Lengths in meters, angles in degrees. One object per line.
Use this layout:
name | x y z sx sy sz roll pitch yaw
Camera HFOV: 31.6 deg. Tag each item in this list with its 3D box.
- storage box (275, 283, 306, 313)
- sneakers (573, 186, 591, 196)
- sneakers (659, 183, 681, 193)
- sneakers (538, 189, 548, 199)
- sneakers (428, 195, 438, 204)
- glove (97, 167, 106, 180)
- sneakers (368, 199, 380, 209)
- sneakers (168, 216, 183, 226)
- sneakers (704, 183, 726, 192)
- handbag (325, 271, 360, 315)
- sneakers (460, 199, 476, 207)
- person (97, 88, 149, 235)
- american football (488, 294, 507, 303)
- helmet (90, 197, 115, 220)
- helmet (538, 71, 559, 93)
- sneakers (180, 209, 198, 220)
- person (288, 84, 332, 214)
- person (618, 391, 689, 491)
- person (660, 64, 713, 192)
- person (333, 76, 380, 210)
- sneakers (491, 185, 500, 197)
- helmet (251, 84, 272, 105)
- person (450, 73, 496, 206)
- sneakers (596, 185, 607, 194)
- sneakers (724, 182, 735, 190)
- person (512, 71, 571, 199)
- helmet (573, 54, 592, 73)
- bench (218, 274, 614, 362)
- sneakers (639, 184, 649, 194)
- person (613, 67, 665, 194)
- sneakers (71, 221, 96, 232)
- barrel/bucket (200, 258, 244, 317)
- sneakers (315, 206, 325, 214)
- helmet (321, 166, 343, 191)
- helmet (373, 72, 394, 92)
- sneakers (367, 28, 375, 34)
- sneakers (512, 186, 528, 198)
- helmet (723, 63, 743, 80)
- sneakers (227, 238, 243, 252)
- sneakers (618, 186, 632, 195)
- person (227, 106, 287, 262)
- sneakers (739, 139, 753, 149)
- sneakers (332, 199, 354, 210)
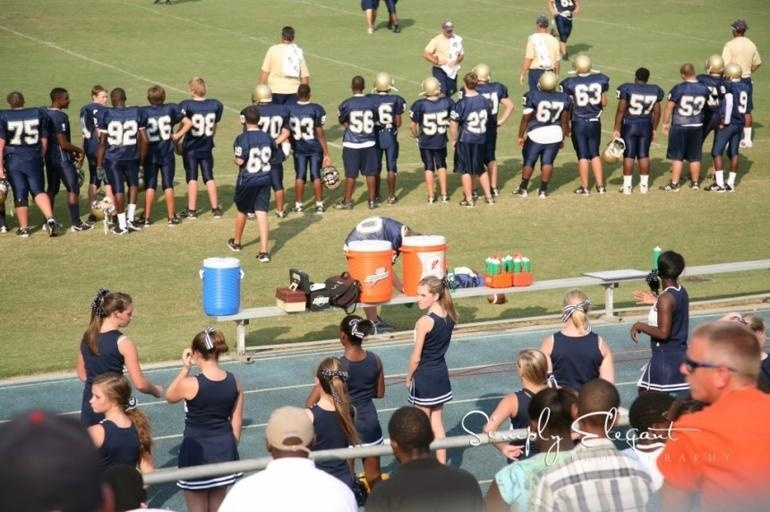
storage box | -1.538 0.672 22.470 0.477 0.248 0.590 -3 12 -20
sneakers | 4.115 -1.402 28.524 0.156 0.127 0.327 -2 8 -20
sneakers | 5.992 -1.465 28.622 0.159 0.151 0.412 -8 11 -40
sneakers | 3.289 -1.312 28.216 0.263 0.173 0.485 -1 0 -3
sneakers | 0.993 -1.189 27.932 0.206 0.170 0.480 -1 -3 5
glove | -5.331 -1.613 25.797 0.255 0.223 0.613 0 6 -9
sneakers | -0.194 -1.084 27.506 0.262 0.240 0.616 -1 0 4
sneakers | -4.077 -0.702 26.637 0.245 0.204 0.569 -1 -1 3
sneakers | 6.985 -1.474 28.661 0.450 0.146 0.170 5 11 22
handbag | -0.644 0.591 22.335 0.756 0.571 0.486 7 35 -23
sneakers | 1.704 -1.093 27.776 0.136 0.097 0.262 -1 2 -24
person | -4.944 -1.811 25.886 0.903 2.805 0.563 -1 11 -9
american football | 1.937 0.712 23.190 0.261 0.105 0.186 0 4 -21
helmet | -5.365 -0.944 26.086 0.525 0.381 0.371 18 6 21
helmet | 3.312 -3.566 27.509 0.334 0.403 0.477 1 10 2
sneakers | -3.827 -0.853 26.978 0.389 0.128 0.143 6 8 31
person | -1.472 -2.169 27.206 0.793 2.603 1.137 0 10 -3
person | 3.462 2.389 17.409 0.744 0.908 1.291 -8 8 -21
person | 6.226 -2.665 28.096 0.882 2.664 1.065 3 11 11
person | -0.478 -2.135 27.081 0.787 2.366 0.440 0 11 -2
sneakers | 2.349 -1.375 28.467 0.096 0.186 0.160 -6 32 -16
helmet | -2.332 -3.160 26.328 0.341 0.366 0.321 -1 10 -8
person | 1.753 -2.359 27.367 0.803 2.705 0.627 1 11 4
sneakers | 4.545 -1.433 28.603 0.229 0.119 0.502 -2 5 4
sneakers | 7.279 -1.481 28.692 0.165 0.106 0.127 -20 -11 36
person | 3.256 -2.576 27.627 1.023 2.399 0.527 2 11 5
helmet | 4.026 -3.907 27.618 0.299 0.336 0.316 2 10 5
bench | 0.406 1.029 22.272 8.668 0.941 1.330 -2 4 -13
sneakers | 5.424 -1.449 28.563 0.223 0.188 0.189 -1 16 2
person | 5.233 -2.589 28.042 0.890 2.617 0.936 3 11 13
sneakers | -5.763 -0.592 26.241 0.459 0.148 0.144 -4 25 -14
barrel/bucket | -2.640 0.487 22.269 0.636 0.981 0.293 2 11 8
sneakers | -1.268 -0.953 27.405 0.209 0.270 0.142 0 7 2
helmet | -1.079 -1.611 27.487 0.484 0.428 0.446 -8 31 -6
helmet | 0.024 -3.535 27.011 0.445 0.332 0.418 2 40 4
sneakers | -0.370 -6.619 39.658 0.261 0.214 0.591 -1 4 0
sneakers | 2.864 -1.350 28.372 0.145 0.140 0.376 -7 13 -35
helmet | 7.218 -3.866 28.256 0.340 0.324 0.330 3 10 12
sneakers | -2.790 -0.242 25.562 0.169 0.104 0.309 -6 18 -26
sneakers | 5.055 -1.427 28.471 0.196 0.180 0.236 2 15 -4
person | -2.408 -1.337 25.045 0.851 2.882 0.824 0 11 -6
sneakers | 8.231 -2.576 30.903 0.158 0.115 0.313 -3 10 -1
sneakers | -0.822 -1.060 27.606 0.167 0.128 0.361 -2 6 -31
